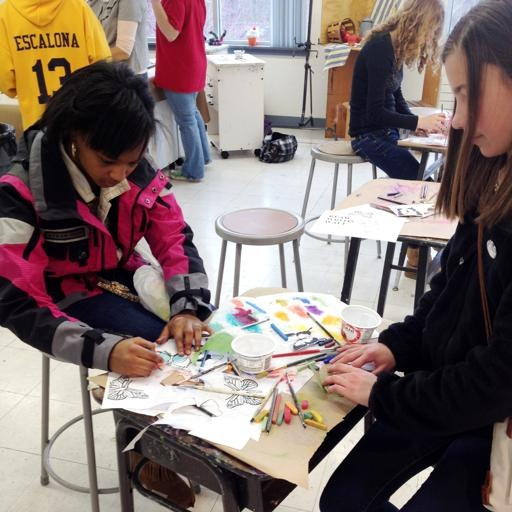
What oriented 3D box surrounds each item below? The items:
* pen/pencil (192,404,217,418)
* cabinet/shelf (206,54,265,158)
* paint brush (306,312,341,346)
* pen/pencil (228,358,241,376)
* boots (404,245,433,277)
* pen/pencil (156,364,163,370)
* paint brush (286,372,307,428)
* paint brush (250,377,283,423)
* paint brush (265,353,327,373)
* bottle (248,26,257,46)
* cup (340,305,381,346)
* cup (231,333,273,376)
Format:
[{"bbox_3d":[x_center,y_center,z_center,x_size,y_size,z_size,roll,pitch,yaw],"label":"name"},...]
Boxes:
[{"bbox_3d":[-0.102,0.305,0.874,0.055,0.011,0.015,24,35,33],"label":"pen/pencil"},{"bbox_3d":[-0.232,-1.725,5.042,0.695,0.981,1.054,-2,41,-4],"label":"cabinet/shelf"},{"bbox_3d":[0.168,0.184,1.187,0.024,0.009,0.180,-29,32,-15],"label":"paint brush"},{"bbox_3d":[-0.051,0.256,1.016,0.012,0.011,0.044,-43,38,5],"label":"pen/pencil"},{"bbox_3d":[0.833,0.020,2.269,0.071,0.134,0.196,5,60,17],"label":"boots"},{"bbox_3d":[-0.223,0.259,1.034,0.012,0.017,0.011,7,31,-1],"label":"pen/pencil"},{"bbox_3d":[0.080,0.296,0.913,0.013,0.009,0.113,-1,24,-15],"label":"paint brush"},{"bbox_3d":[0.019,0.297,0.901,0.009,0.007,0.086,33,36,15],"label":"paint brush"},{"bbox_3d":[0.090,0.251,1.028,0.133,0.010,0.010,-16,34,-1],"label":"paint brush"},{"bbox_3d":[-0.062,-3.087,6.172,0.126,0.286,0.274,1,21,-1],"label":"bottle"},{"bbox_3d":[0.262,0.171,1.117,0.101,0.067,0.096,3,40,-2],"label":"cup"},{"bbox_3d":[-0.009,0.217,1.015,0.093,0.050,0.088,0,34,0],"label":"cup"}]
